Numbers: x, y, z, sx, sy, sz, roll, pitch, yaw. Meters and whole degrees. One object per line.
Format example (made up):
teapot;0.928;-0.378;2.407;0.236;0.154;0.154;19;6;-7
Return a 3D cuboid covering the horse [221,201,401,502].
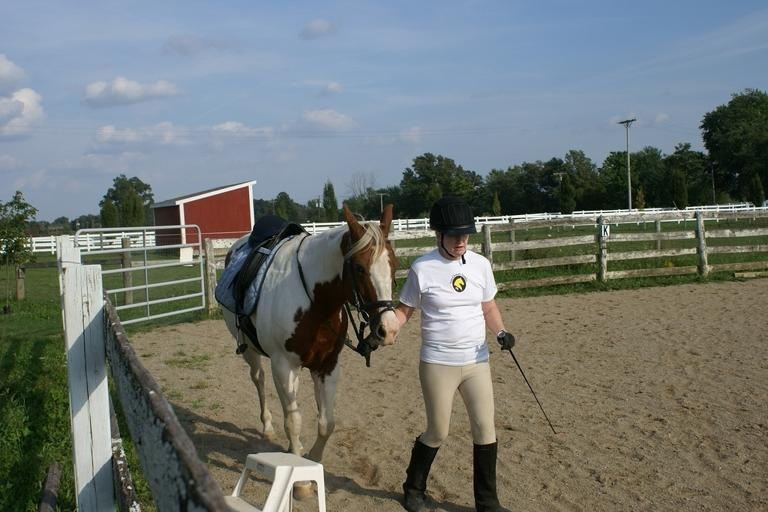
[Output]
horse;-1.094;1.138;8.114;0.994;3.174;4.113;1;-1;-32

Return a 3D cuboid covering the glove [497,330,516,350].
glove;1.258;0.891;6.956;0.183;0.096;0.269;2;47;-12

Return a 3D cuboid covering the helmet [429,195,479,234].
helmet;0.697;-0.403;6.694;0.305;0.247;0.446;-7;17;-21
